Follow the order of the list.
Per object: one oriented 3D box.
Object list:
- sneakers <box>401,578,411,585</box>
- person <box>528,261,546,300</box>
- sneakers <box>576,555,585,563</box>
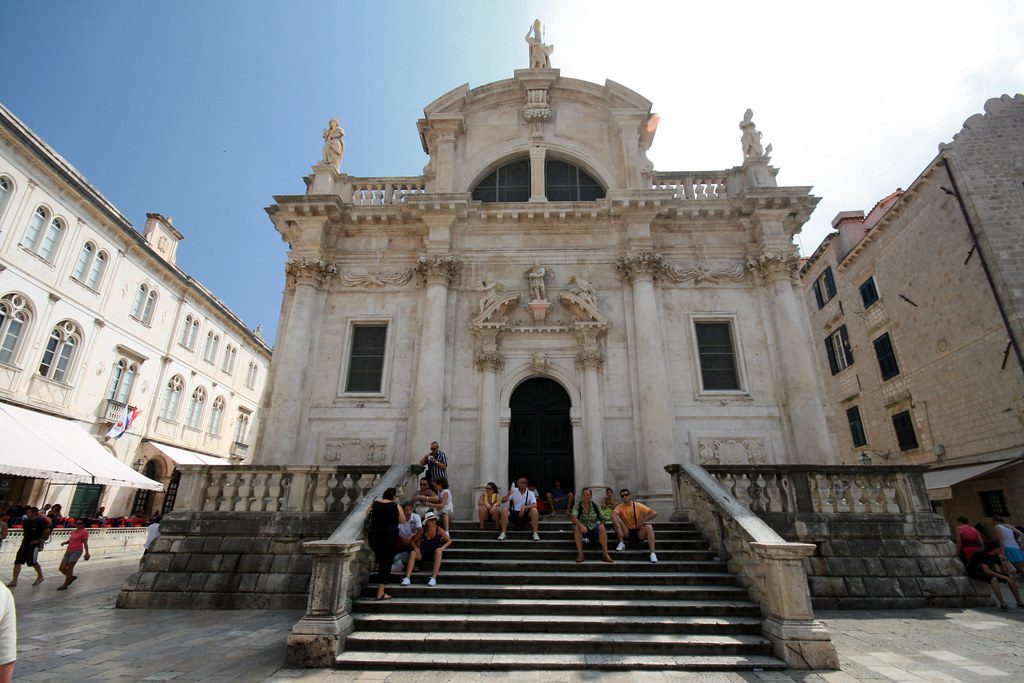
[{"bbox_3d":[-2.437,5.439,11.145,0.206,0.166,0.270,3,-21,-12],"label":"sneakers"},{"bbox_3d":[0.913,-2.317,18.282,0.744,1.448,0.382,-3,-22,3],"label":"person"},{"bbox_3d":[1.673,5.377,12.057,0.103,0.176,0.287,-8,-34,11],"label":"sneakers"}]
